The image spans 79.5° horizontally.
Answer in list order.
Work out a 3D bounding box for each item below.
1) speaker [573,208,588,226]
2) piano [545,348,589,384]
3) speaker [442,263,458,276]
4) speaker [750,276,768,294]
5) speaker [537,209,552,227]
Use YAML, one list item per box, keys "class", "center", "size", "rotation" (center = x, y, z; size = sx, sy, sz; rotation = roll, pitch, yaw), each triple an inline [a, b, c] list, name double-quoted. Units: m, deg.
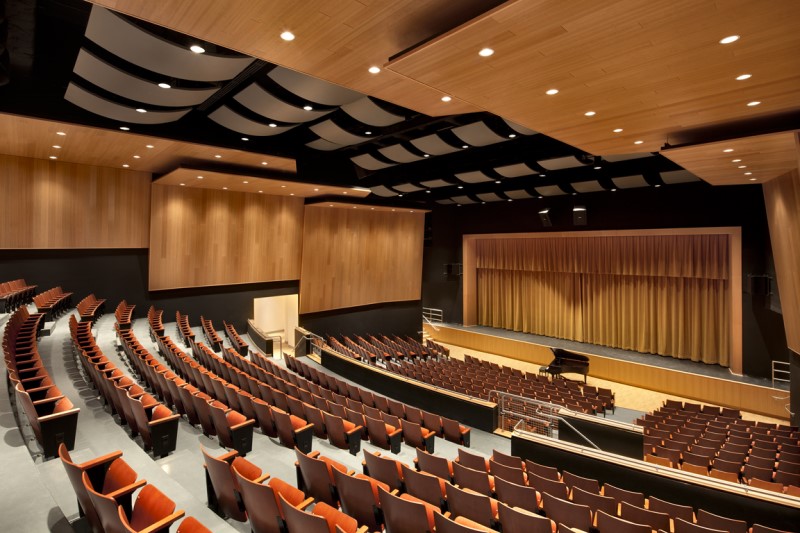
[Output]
- class: "speaker"
  center: [4.638, -1.336, 12.494]
  size: [0.287, 0.411, 0.211]
  rotation: [-1, -1, 38]
- class: "piano"
  center: [4.354, 2.468, 12.304]
  size: [1.108, 0.860, 0.759]
  rotation: [4, 8, 42]
- class: "speaker"
  center: [1.732, 0.100, 16.697]
  size: [0.428, 0.405, 0.457]
  rotation: [0, -1, -33]
- class: "speaker"
  center: [7.782, 0.381, 10.468]
  size: [0.353, 0.409, 0.143]
  rotation: [0, -1, 30]
- class: "speaker"
  center: [4.130, -1.416, 13.748]
  size: [0.280, 0.448, 0.461]
  rotation: [1, 22, 22]
